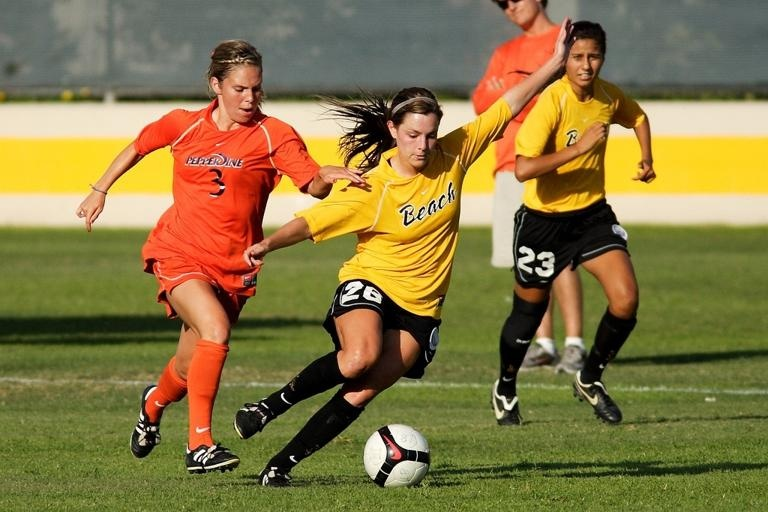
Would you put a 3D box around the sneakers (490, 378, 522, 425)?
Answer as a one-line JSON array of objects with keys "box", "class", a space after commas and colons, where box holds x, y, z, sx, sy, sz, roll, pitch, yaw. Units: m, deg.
[{"box": [1.054, 1.300, 11.684, 0.172, 0.456, 0.196, -11, -11, -24], "class": "sneakers"}]

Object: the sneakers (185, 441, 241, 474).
[{"box": [-1.339, 1.588, 10.365, 0.471, 0.232, 0.169, 6, 13, 27], "class": "sneakers"}]

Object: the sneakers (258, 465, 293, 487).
[{"box": [-0.850, 1.723, 10.413, 0.243, 0.160, 0.126, 22, 0, 10], "class": "sneakers"}]

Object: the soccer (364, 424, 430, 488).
[{"box": [0.118, 1.526, 10.524, 0.477, 0.453, 0.466, -1, 14, 30], "class": "soccer"}]

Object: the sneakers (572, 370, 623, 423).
[{"box": [1.872, 1.209, 11.554, 0.225, 0.256, 0.607, -12, 35, -33], "class": "sneakers"}]

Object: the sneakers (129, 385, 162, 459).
[{"box": [-2.000, 1.382, 11.012, 0.224, 0.646, 0.283, 2, 7, -22], "class": "sneakers"}]
